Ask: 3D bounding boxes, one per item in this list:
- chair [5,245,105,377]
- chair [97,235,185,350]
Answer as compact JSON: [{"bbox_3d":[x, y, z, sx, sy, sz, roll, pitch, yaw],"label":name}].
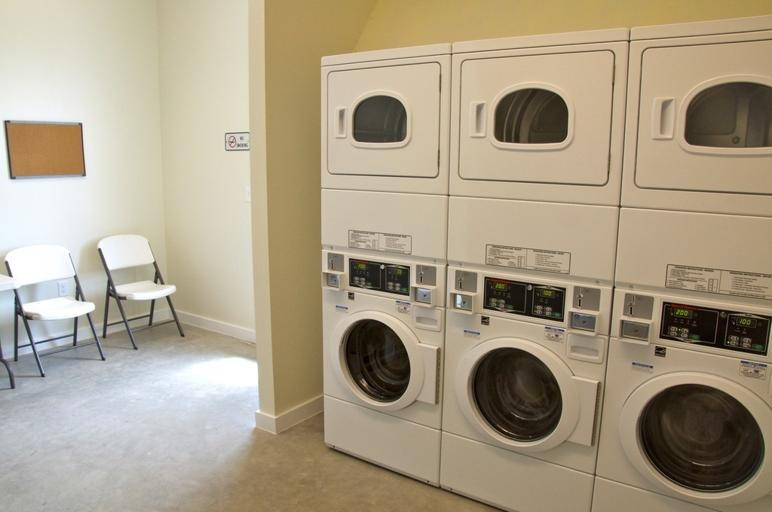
[{"bbox_3d":[-3.034,0.450,4.685,0.696,1.070,0.687,-5,13,-38],"label":"chair"},{"bbox_3d":[-2.484,0.323,5.145,0.697,1.042,0.714,2,10,3],"label":"chair"}]
